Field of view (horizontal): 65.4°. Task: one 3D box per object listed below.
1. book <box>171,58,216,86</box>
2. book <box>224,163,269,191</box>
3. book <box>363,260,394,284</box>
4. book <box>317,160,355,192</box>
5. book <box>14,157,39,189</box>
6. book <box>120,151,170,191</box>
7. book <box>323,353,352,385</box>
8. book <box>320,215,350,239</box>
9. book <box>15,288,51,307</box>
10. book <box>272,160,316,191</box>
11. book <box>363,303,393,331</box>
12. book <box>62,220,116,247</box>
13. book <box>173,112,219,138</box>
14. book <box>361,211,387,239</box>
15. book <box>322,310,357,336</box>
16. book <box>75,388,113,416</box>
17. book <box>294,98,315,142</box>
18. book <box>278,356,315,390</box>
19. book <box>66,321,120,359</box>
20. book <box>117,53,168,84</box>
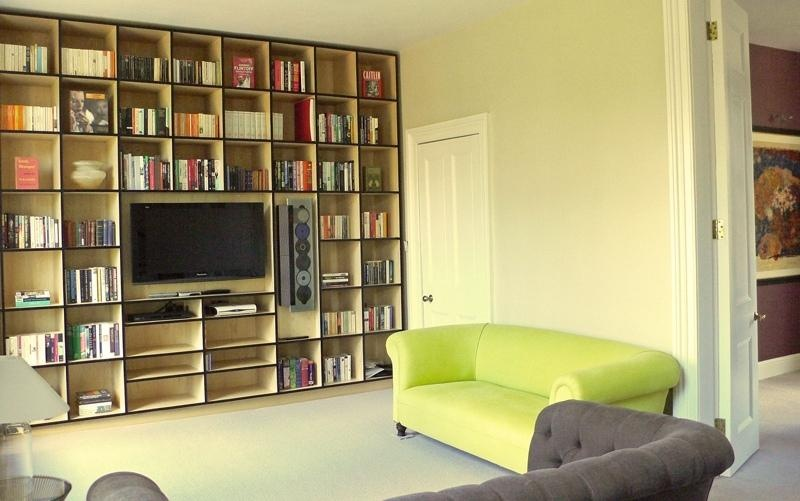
[{"bbox_3d":[-2.092,-1.801,6.433,0.534,0.259,0.468,-3,9,-30],"label":"book"},{"bbox_3d":[-1.674,-0.806,6.727,0.401,0.274,0.399,-4,16,-27],"label":"book"},{"bbox_3d":[-0.256,0.257,7.204,0.273,0.326,0.365,2,-6,-38],"label":"book"},{"bbox_3d":[-0.709,-0.784,7.105,0.478,0.429,0.341,0,-2,-37],"label":"book"},{"bbox_3d":[-3.496,-0.714,5.843,0.186,0.301,0.114,-7,10,-30],"label":"book"},{"bbox_3d":[-2.538,-0.747,6.321,0.531,0.462,0.374,0,-3,-20],"label":"book"},{"bbox_3d":[-0.692,1.334,6.987,0.372,0.253,0.364,-3,2,11],"label":"book"},{"bbox_3d":[-0.748,-0.239,7.113,0.360,0.307,0.256,0,2,-21],"label":"book"},{"bbox_3d":[-3.464,0.459,5.891,0.291,0.125,0.199,-5,9,-20],"label":"book"},{"bbox_3d":[-1.190,-0.786,6.972,0.477,0.415,0.340,-2,2,-28],"label":"book"},{"bbox_3d":[-0.294,0.749,7.312,0.281,0.327,0.361,-1,2,-27],"label":"book"},{"bbox_3d":[-2.990,-0.154,6.034,0.459,0.261,0.089,-5,9,-22],"label":"book"},{"bbox_3d":[-2.080,-1.276,6.407,0.453,0.244,0.141,-4,9,-14],"label":"book"},{"bbox_3d":[-0.328,-0.309,7.367,0.292,0.350,0.381,-1,1,-17],"label":"book"},{"bbox_3d":[-0.679,0.818,7.010,0.473,0.302,0.249,0,1,-35],"label":"book"},{"bbox_3d":[-2.979,1.476,6.066,0.250,0.142,0.249,-2,4,-42],"label":"book"},{"bbox_3d":[-1.044,-1.429,6.897,0.104,0.396,0.425,0,1,-32],"label":"book"},{"bbox_3d":[-1.168,1.320,6.895,0.434,0.381,0.317,2,-4,-39],"label":"book"},{"bbox_3d":[-2.945,0.870,6.115,0.490,0.420,0.337,-1,6,-6],"label":"book"},{"bbox_3d":[-2.549,-1.787,6.232,0.535,0.257,0.491,-2,12,-27],"label":"book"}]
